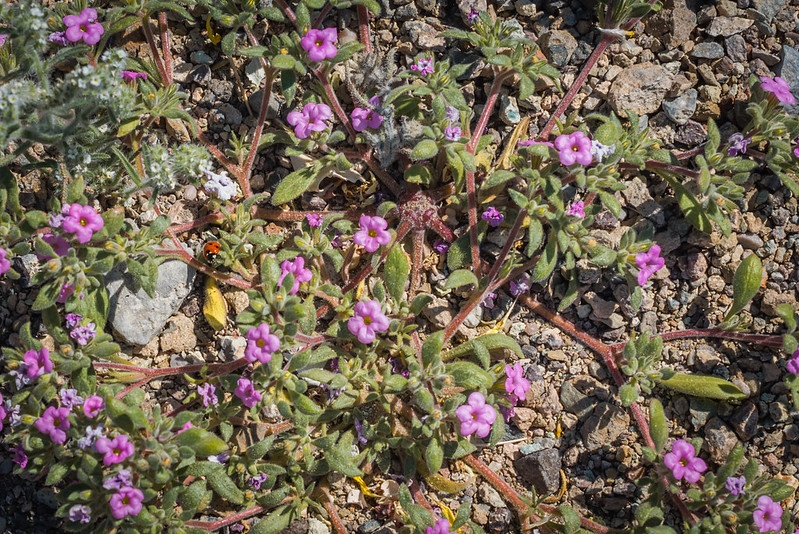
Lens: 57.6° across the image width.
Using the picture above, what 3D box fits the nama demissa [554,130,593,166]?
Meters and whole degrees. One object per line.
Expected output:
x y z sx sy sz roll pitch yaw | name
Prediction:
1.285 -0.866 5.368 0.240 0.094 0.251 -32 76 -13 | nama demissa

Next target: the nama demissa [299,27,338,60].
-0.620 -1.682 5.662 0.272 0.244 0.279 -9 78 -7 | nama demissa

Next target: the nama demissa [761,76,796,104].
2.986 -1.391 5.724 0.251 0.077 0.259 39 35 11 | nama demissa

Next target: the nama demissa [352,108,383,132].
-0.260 -1.181 5.907 0.259 0.215 0.186 -4 77 -6 | nama demissa

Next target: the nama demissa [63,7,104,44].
-2.406 -1.824 5.550 0.268 0.114 0.307 4 82 3 | nama demissa

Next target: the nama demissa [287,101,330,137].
-0.706 -1.152 5.687 0.272 0.116 0.311 5 78 4 | nama demissa
